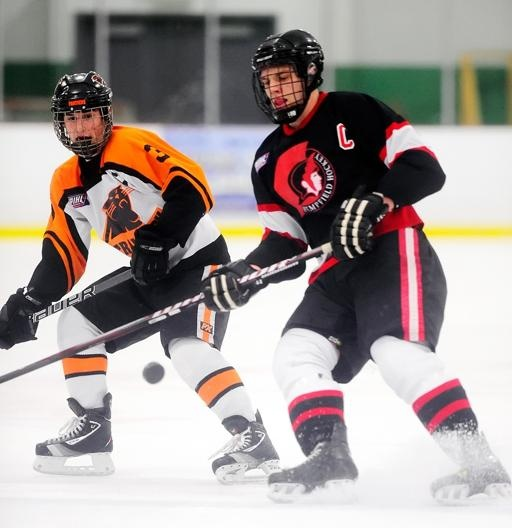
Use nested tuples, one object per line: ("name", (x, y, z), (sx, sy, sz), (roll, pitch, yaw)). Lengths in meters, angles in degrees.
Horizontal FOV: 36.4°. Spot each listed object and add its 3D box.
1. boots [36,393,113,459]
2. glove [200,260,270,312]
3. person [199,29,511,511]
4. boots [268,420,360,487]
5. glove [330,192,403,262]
("boots", (-0.548, 0.484, 2.274), (0.271, 0.165, 0.092), (3, -1, -43))
("glove", (-0.049, 0.051, 2.081), (0.167, 0.058, 0.117), (-28, 49, -24))
("person", (0.201, -0.030, 1.993), (0.610, 1.195, 0.737), (-4, 7, -17))
("boots", (0.147, 0.474, 1.866), (0.261, 0.148, 0.092), (-18, -20, 30))
("glove", (0.279, -0.093, 1.975), (0.145, 0.165, 0.078), (21, 1, 29))
